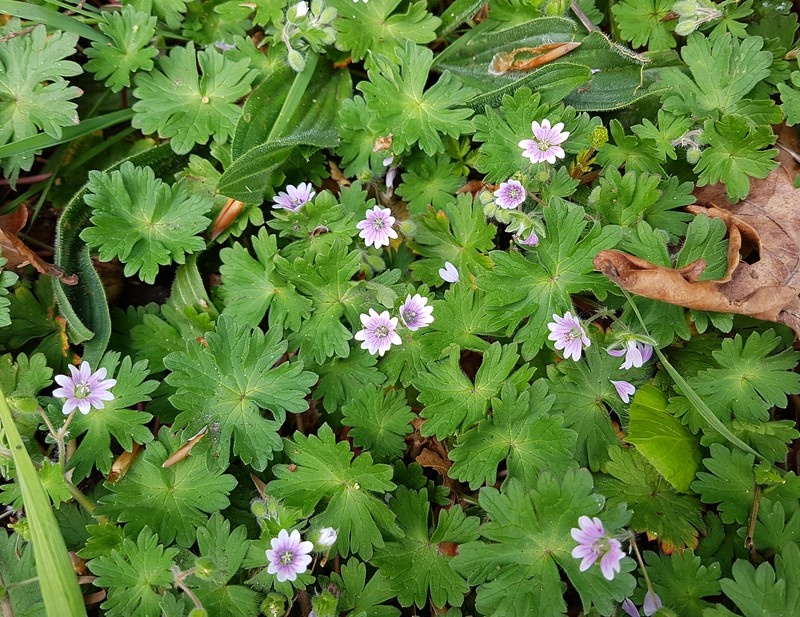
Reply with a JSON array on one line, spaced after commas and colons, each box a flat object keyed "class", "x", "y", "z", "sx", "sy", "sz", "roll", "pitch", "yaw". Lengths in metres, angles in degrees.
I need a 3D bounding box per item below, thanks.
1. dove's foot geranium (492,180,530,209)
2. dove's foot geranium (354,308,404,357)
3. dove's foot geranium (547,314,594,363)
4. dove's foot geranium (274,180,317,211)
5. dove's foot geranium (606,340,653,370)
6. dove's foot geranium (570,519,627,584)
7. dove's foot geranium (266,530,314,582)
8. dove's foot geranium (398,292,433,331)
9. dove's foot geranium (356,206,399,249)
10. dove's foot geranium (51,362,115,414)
[{"class": "dove's foot geranium", "x": 0.483, "y": -0.503, "z": 3.089, "sx": 0.136, "sy": 0.089, "sz": 0.112, "roll": -34, "pitch": 69, "yaw": -10}, {"class": "dove's foot geranium", "x": -0.096, "y": 0.096, "z": 3.027, "sx": 0.189, "sy": 0.154, "sz": 0.164, "roll": 1, "pitch": 67, "yaw": 5}, {"class": "dove's foot geranium", "x": 0.687, "y": 0.102, "z": 2.887, "sx": 0.173, "sy": 0.082, "sz": 0.196, "roll": -30, "pitch": 84, "yaw": 22}, {"class": "dove's foot geranium", "x": -0.491, "y": -0.514, "z": 3.267, "sx": 0.144, "sy": 0.062, "sz": 0.153, "roll": 43, "pitch": 92, "yaw": 14}, {"class": "dove's foot geranium", "x": 0.993, "y": 0.187, "z": 2.978, "sx": 0.137, "sy": 0.066, "sz": 0.174, "roll": -2, "pitch": 86, "yaw": 5}, {"class": "dove's foot geranium", "x": 0.766, "y": 0.894, "z": 2.672, "sx": 0.159, "sy": 0.181, "sz": 0.078, "roll": -34, "pitch": 37, "yaw": 3}, {"class": "dove's foot geranium", "x": -0.451, "y": 0.936, "z": 2.836, "sx": 0.182, "sy": 0.199, "sz": 0.078, "roll": 8, "pitch": 75, "yaw": -4}, {"class": "dove's foot geranium", "x": 0.072, "y": 0.011, "z": 3.098, "sx": 0.157, "sy": 0.132, "sz": 0.134, "roll": -18, "pitch": 66, "yaw": -3}, {"class": "dove's foot geranium", "x": -0.103, "y": -0.408, "z": 3.221, "sx": 0.249, "sy": 0.271, "sz": 0.073, "roll": -19, "pitch": 94, "yaw": 14}, {"class": "dove's foot geranium", "x": -1.336, "y": 0.343, "z": 2.958, "sx": 0.217, "sy": 0.118, "sz": 0.244, "roll": 10, "pitch": 28, "yaw": -6}]
